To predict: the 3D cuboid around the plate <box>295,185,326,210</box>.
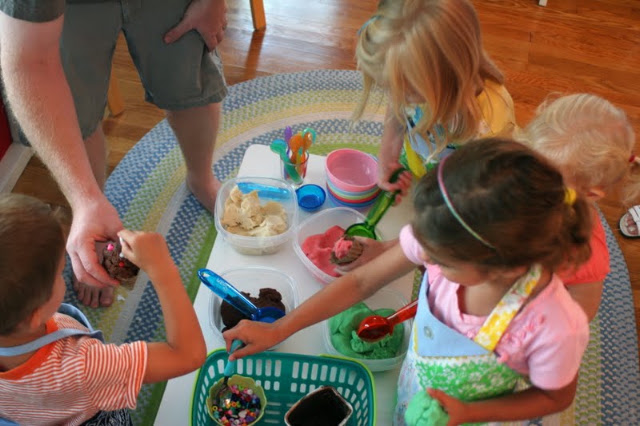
[{"bbox_3d":[-0.036,-0.051,2.181,0.131,0.205,0.080,-5,70,-1],"label":"plate"}]
